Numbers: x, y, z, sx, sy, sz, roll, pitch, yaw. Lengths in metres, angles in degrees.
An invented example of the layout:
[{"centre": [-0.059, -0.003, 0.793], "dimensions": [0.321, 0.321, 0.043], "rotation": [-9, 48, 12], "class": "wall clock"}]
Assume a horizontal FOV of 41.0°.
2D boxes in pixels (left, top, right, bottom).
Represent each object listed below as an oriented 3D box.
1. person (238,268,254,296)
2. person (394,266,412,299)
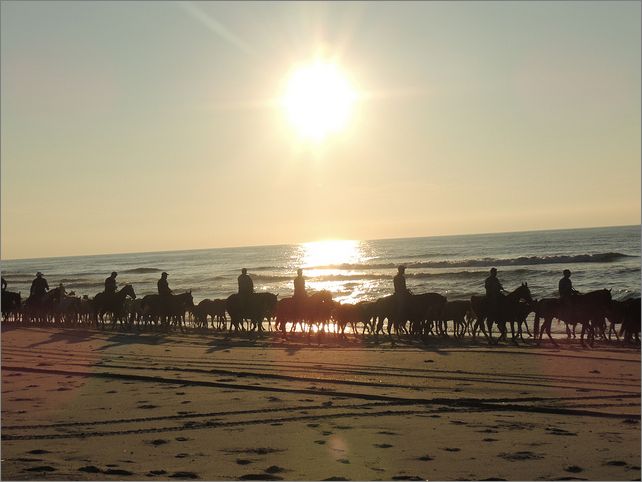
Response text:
[{"centre": [-2.955, 1.643, 33.931], "dimensions": [0.601, 1.065, 1.126], "rotation": [-1, 0, -6], "class": "person"}, {"centre": [2.923, 1.468, 30.674], "dimensions": [0.545, 1.192, 1.654], "rotation": [-1, 0, 5], "class": "person"}]
